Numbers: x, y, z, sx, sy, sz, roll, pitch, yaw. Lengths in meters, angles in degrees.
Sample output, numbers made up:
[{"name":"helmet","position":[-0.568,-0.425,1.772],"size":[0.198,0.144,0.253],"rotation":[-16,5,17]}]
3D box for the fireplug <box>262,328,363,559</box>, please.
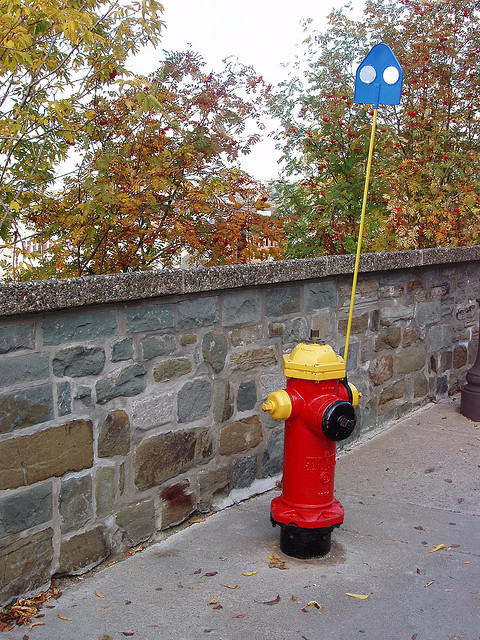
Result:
[{"name":"fireplug","position":[0.299,0.526,2.388],"size":[0.365,0.967,0.314],"rotation":[1,4,13]}]
